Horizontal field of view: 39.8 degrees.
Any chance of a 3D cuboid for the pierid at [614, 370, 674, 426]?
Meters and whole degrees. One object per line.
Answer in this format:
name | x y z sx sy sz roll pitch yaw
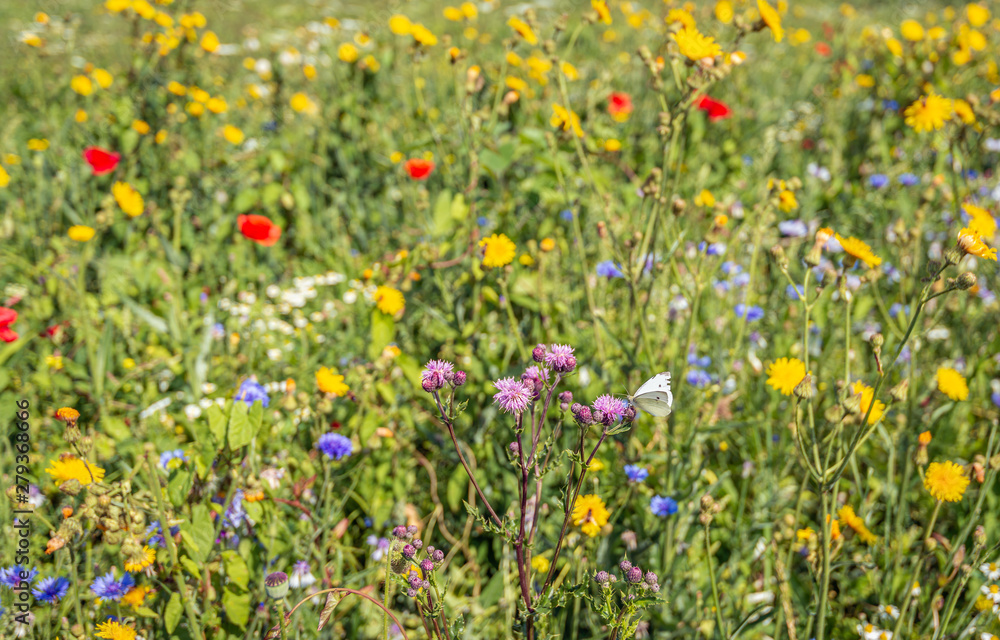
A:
pierid | 0.576 0.318 5.484 0.167 0.133 0.190 33 -14 2
